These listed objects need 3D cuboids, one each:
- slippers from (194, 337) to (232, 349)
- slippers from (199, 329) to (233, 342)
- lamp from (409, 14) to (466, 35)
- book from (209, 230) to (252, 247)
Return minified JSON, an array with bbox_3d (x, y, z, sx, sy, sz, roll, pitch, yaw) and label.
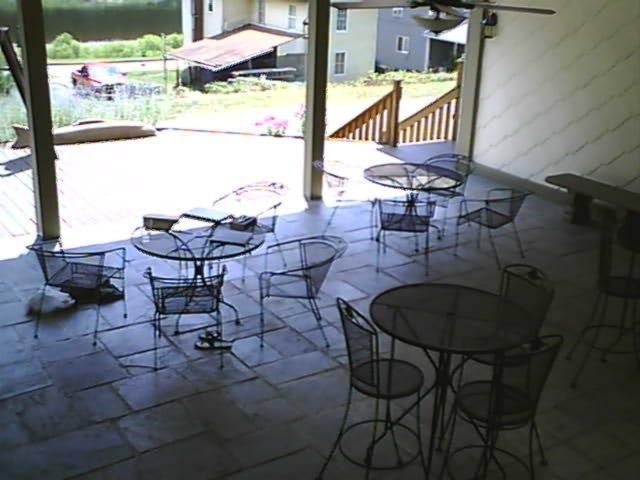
[{"bbox_3d":[-1.029,1.013,5.710,0.241,0.028,0.130,3,16,-5],"label":"slippers"},{"bbox_3d":[-1.031,0.949,5.844,0.348,0.092,0.119,6,13,-3],"label":"slippers"},{"bbox_3d":[1.022,-1.882,5.054,0.254,0.083,0.223,12,15,37],"label":"lamp"},{"bbox_3d":[-0.911,-0.028,6.101,0.257,0.052,0.223,7,13,21],"label":"book"}]
